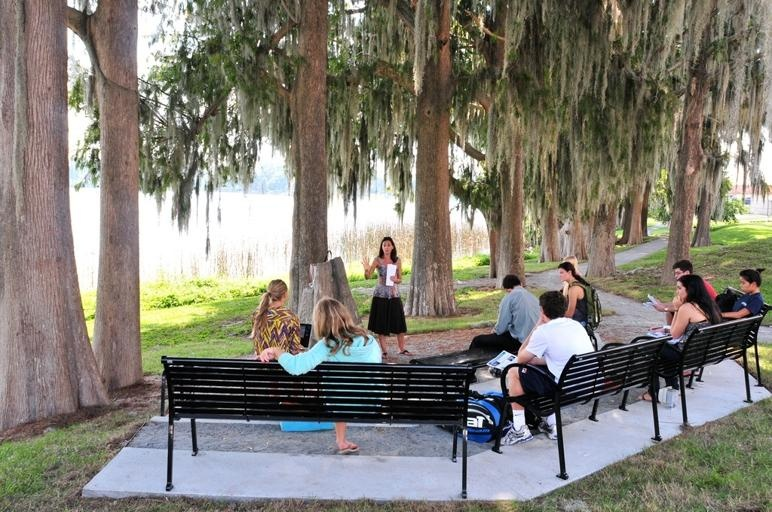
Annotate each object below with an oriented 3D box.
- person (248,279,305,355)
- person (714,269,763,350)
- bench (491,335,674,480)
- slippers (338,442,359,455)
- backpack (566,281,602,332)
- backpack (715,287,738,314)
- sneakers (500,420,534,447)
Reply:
[{"bbox_3d":[-1.661,0.833,11.280,0.670,1.213,0.976,5,18,-3],"label":"person"},{"bbox_3d":[6.282,0.802,13.203,0.818,1.413,0.922,7,1,14],"label":"person"},{"bbox_3d":[3.075,1.958,10.646,0.779,1.075,1.643,-14,-4,-46],"label":"bench"},{"bbox_3d":[-0.535,2.672,10.474,0.255,0.139,0.127,-5,6,-12],"label":"slippers"},{"bbox_3d":[3.378,0.746,13.075,0.542,0.787,0.461,0,19,35],"label":"backpack"},{"bbox_3d":[6.023,0.760,13.465,0.413,0.504,0.305,24,-9,-42],"label":"backpack"},{"bbox_3d":[1.840,2.537,10.762,0.470,0.274,0.218,-7,-3,6],"label":"sneakers"}]
